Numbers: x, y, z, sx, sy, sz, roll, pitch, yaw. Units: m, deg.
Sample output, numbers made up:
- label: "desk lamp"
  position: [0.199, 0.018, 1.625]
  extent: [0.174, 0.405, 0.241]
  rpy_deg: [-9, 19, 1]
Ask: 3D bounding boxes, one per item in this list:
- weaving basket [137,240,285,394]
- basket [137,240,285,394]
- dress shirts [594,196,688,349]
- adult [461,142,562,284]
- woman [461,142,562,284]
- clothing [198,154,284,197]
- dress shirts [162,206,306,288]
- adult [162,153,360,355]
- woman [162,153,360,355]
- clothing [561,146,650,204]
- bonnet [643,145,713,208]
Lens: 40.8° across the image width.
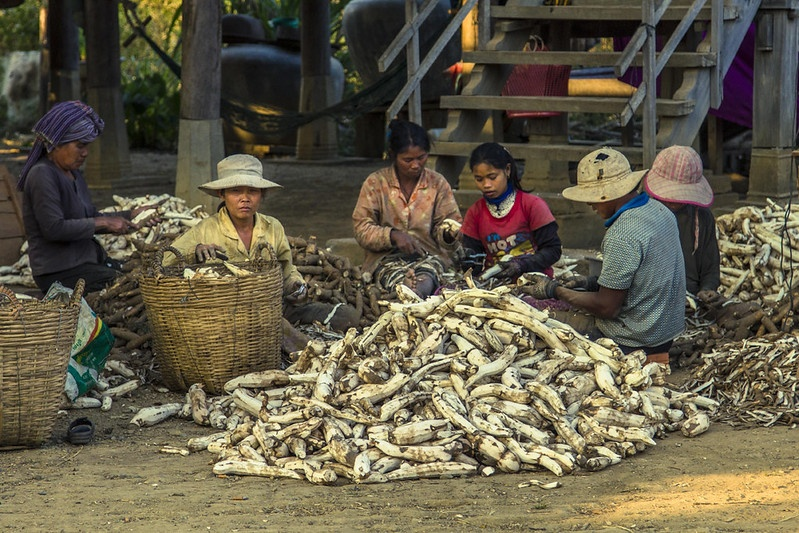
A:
- label: "weaving basket"
  position: [-1.497, 0.413, 8.292]
  extent: [1.104, 0.975, 0.913]
  rpy_deg: [-6, 0, -7]
- label: "basket"
  position: [-1.341, 0.308, 8.397]
  extent: [1.061, 1.076, 1.156]
  rpy_deg: [-13, 11, -21]
- label: "dress shirts"
  position: [1.738, 0.065, 7.778]
  extent: [0.969, 0.923, 0.537]
  rpy_deg: [-18, 24, -42]
- label: "adult"
  position: [0.819, -0.388, 8.683]
  extent: [0.834, 1.196, 0.790]
  rpy_deg: [-5, 15, 27]
- label: "woman"
  position: [0.814, -0.390, 8.687]
  extent: [0.844, 1.197, 0.784]
  rpy_deg: [-5, 14, 30]
- label: "clothing"
  position: [-1.243, -0.725, 8.382]
  extent: [0.624, 0.221, 0.621]
  rpy_deg: [9, 15, 43]
- label: "dress shirts"
  position: [-1.244, -0.118, 8.417]
  extent: [1.067, 0.609, 0.628]
  rpy_deg: [-8, 13, -14]
- label: "adult"
  position: [-1.073, -0.107, 8.455]
  extent: [1.550, 1.405, 1.200]
  rpy_deg: [-9, 22, -39]
- label: "woman"
  position: [-1.105, -0.116, 8.450]
  extent: [1.489, 1.377, 1.127]
  rpy_deg: [-10, 22, -40]
- label: "clothing"
  position: [1.511, -0.718, 7.959]
  extent: [0.578, 0.292, 0.649]
  rpy_deg: [9, 29, 34]
- label: "bonnet"
  position: [2.118, -0.680, 8.366]
  extent: [0.442, 0.285, 0.526]
  rpy_deg: [-12, 35, -23]
